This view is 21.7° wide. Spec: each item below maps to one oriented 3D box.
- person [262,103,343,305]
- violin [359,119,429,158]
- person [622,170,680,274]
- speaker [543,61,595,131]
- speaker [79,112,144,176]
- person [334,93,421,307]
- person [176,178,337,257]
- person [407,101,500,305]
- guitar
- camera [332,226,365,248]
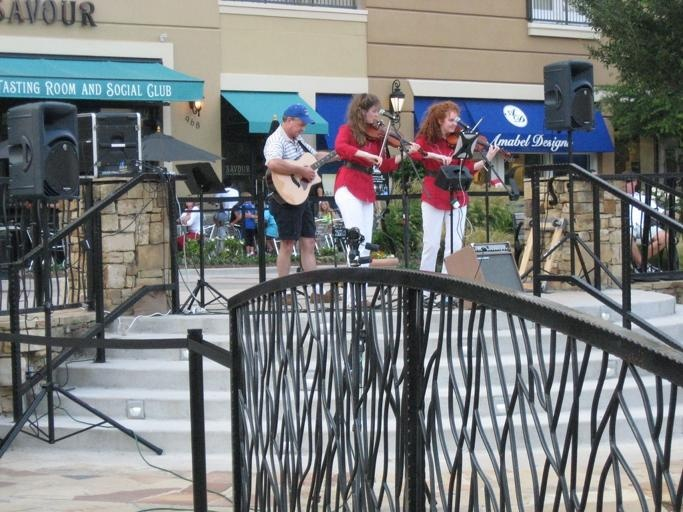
[{"bbox_3d":[-0.654,-0.846,24.167,0.897,2.782,0.791,-6,12,-45],"label":"person"},{"bbox_3d":[0.686,-1.558,24.101,0.787,0.407,0.186,34,-10,-8],"label":"violin"},{"bbox_3d":[4.455,-0.402,26.213,0.742,1.648,0.332,0,7,10],"label":"person"},{"bbox_3d":[3.086,-2.179,24.280,0.672,0.947,0.370,0,3,9],"label":"speaker"},{"bbox_3d":[-3.239,-1.583,25.138,0.793,1.024,0.853,0,-1,-28],"label":"speaker"},{"bbox_3d":[0.392,-0.788,24.037,0.941,3.083,1.001,0,1,-32],"label":"person"},{"bbox_3d":[-1.945,-0.939,30.957,1.813,0.992,1.033,1,2,31],"label":"person"},{"bbox_3d":[1.463,-1.018,24.121,0.949,3.130,0.903,0,9,-22],"label":"person"},{"bbox_3d":[-0.536,-1.051,24.066,0.926,0.713,0.419,-3,4,-39],"label":"guitar"},{"bbox_3d":[0.065,-0.258,23.678,0.506,0.254,0.315,4,5,45],"label":"camera"}]
